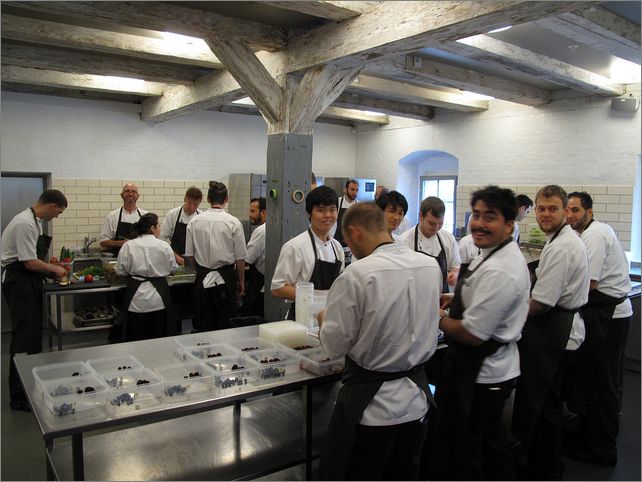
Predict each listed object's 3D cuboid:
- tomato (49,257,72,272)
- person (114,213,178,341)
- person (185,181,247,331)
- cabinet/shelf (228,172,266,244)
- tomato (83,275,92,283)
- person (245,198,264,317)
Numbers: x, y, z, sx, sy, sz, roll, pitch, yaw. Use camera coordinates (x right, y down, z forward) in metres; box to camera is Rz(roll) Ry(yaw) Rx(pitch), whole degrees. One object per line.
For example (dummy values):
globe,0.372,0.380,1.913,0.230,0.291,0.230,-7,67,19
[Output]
tomato,-3.016,0.261,5.150,0.185,0.195,0.208,8,9,10
person,-2.057,0.624,5.267,0.729,1.856,0.595,0,10,-27
person,-1.252,0.348,5.322,0.689,1.463,0.319,-3,6,-13
cabinet/shelf,-1.460,-0.782,8.702,0.784,1.116,0.779,7,13,-6
tomato,-2.738,0.453,5.242,0.085,0.083,0.086,6,2,23
person,-0.834,0.198,5.517,0.333,1.448,0.566,-2,6,-8
